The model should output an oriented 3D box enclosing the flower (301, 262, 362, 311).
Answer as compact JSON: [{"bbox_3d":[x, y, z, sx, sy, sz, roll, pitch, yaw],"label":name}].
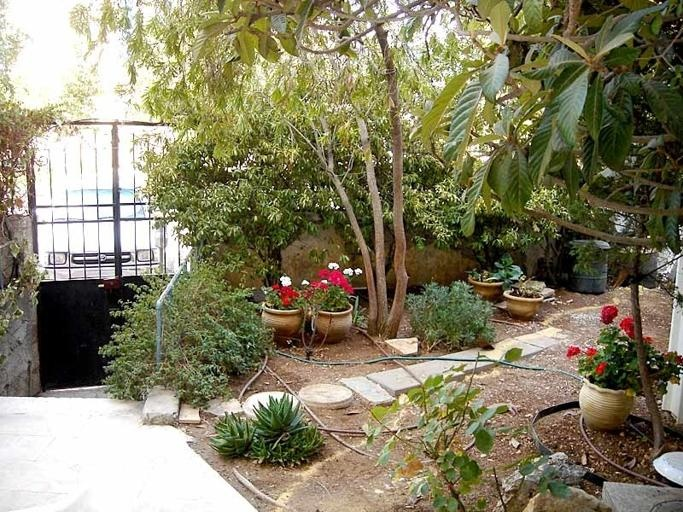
[{"bbox_3d":[-0.118,0.470,6.637,0.760,0.623,0.685,7,6,20],"label":"flower"}]

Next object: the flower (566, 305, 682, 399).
[{"bbox_3d":[2.382,0.854,4.124,0.972,0.839,0.757,-13,-13,41],"label":"flower"}]

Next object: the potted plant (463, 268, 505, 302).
[{"bbox_3d":[2.452,0.513,8.394,0.588,0.490,0.675,5,11,19],"label":"potted plant"}]

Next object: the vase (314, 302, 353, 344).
[{"bbox_3d":[-0.106,0.877,6.472,0.465,0.369,0.474,-1,-4,7],"label":"vase"}]

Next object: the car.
[{"bbox_3d":[-3.547,-0.329,7.083,1.132,1.043,2.079,-1,-8,-15],"label":"car"}]

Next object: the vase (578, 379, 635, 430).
[{"bbox_3d":[2.115,1.215,4.054,0.366,0.363,0.368,3,15,8],"label":"vase"}]

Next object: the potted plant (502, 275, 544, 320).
[{"bbox_3d":[2.895,0.644,7.781,0.613,0.702,0.671,0,1,0],"label":"potted plant"}]

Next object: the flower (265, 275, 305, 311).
[{"bbox_3d":[-0.695,0.474,6.516,0.439,0.266,0.460,6,6,30],"label":"flower"}]

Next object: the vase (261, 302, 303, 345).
[{"bbox_3d":[-0.749,0.871,6.351,0.473,0.387,0.505,1,-6,-2],"label":"vase"}]
